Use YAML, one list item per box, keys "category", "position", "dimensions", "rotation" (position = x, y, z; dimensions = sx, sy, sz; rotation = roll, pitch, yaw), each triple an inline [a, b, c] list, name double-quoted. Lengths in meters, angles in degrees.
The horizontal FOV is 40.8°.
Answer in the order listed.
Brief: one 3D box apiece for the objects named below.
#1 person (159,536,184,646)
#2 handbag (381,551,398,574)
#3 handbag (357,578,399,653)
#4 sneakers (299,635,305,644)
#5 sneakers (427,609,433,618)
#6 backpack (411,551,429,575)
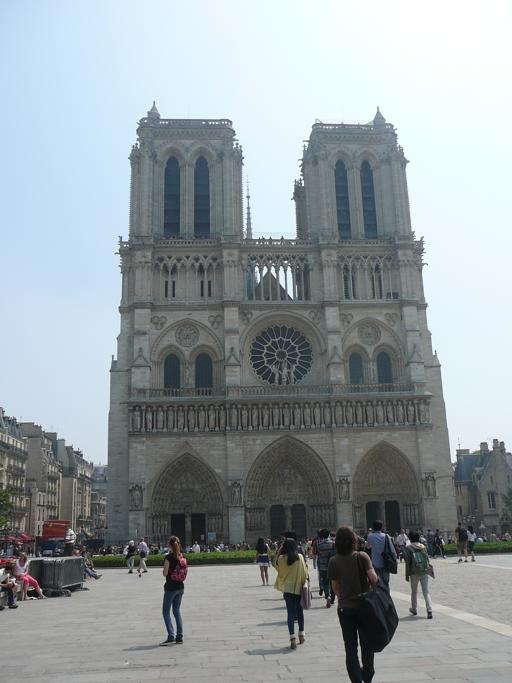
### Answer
- category: "person"
  position: [-1.178, 3.510, 9.766]
  dimensions: [0.338, 1.443, 0.519]
  rotation: [-1, -16, -6]
- category: "handbag"
  position: [2.076, 3.392, 10.598]
  dimensions: [0.172, 0.303, 0.554]
  rotation: [-4, -16, 4]
- category: "handbag"
  position: [1.074, 2.327, 5.965]
  dimensions: [0.184, 0.498, 0.498]
  rotation: [-24, -8, 25]
- category: "sneakers"
  position: [0.628, 4.063, 9.440]
  dimensions: [0.049, 0.101, 0.147]
  rotation: [2, -6, 7]
- category: "sneakers"
  position: [2.910, 4.498, 11.378]
  dimensions: [0.063, 0.120, 0.182]
  rotation: [2, -6, 0]
- category: "backpack"
  position: [2.799, 3.771, 11.765]
  dimensions: [0.357, 0.448, 0.249]
  rotation: [7, -19, -26]
